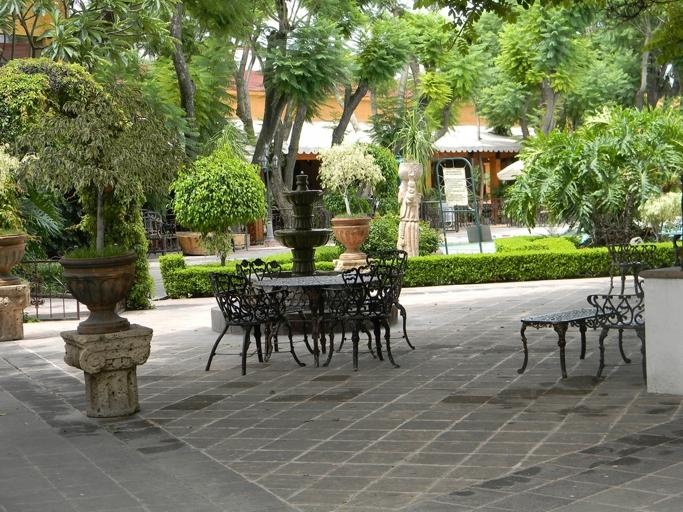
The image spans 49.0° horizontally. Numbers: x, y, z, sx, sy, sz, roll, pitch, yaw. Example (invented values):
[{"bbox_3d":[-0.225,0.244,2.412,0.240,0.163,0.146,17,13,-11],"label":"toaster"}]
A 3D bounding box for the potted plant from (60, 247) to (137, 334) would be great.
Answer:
[{"bbox_3d":[-2.029,0.338,6.512,0.763,0.698,0.711,0,4,5],"label":"potted plant"}]

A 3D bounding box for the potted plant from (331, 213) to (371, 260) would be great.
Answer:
[{"bbox_3d":[0.207,-0.397,16.014,0.928,0.904,0.882,-3,0,-5],"label":"potted plant"}]
